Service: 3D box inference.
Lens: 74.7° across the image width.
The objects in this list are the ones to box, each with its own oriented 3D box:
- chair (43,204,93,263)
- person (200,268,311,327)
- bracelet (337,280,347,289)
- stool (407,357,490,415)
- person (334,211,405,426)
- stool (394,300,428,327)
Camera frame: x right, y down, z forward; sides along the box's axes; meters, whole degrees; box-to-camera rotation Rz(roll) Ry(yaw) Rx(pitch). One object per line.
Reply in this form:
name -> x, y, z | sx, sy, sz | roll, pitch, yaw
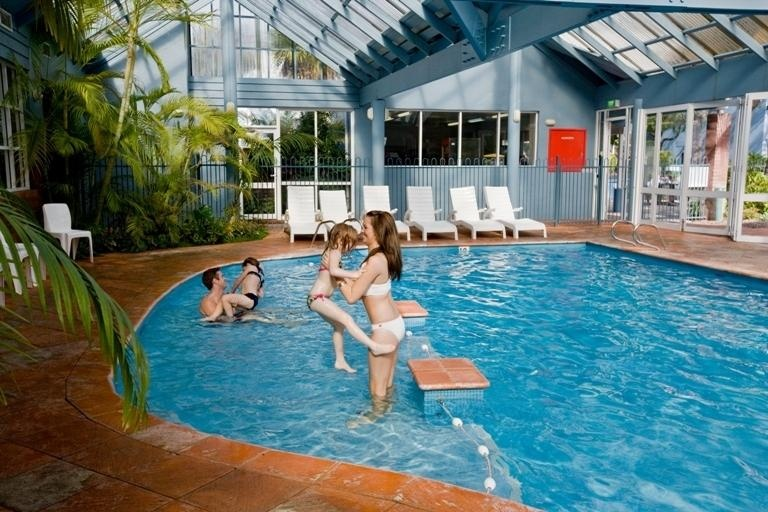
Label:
chair -> -5.617, -0.375, 8.948 | 0.642, 1.090, 1.429 | -9, 17, -32
person -> -1.959, 0.494, 6.773 | 1.124, 0.720, 0.610 | -2, 15, -13
bracelet -> -0.387, 0.253, 4.594 | 0.072, 0.049, 0.069 | -1, 8, 3
stool -> 0.582, 1.205, 4.785 | 0.630, 0.290, 0.672 | -1, 14, -10
person -> -0.100, 0.497, 4.513 | 0.537, 1.744, 0.707 | 1, 15, -1
stool -> 0.361, 0.761, 6.802 | 0.350, 0.175, 0.539 | -2, 13, -13
